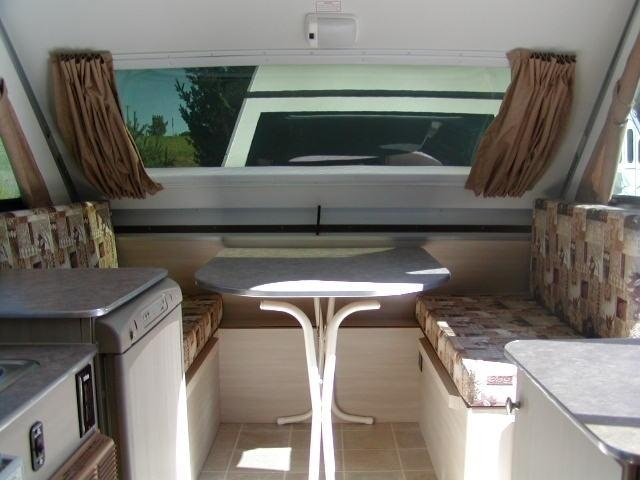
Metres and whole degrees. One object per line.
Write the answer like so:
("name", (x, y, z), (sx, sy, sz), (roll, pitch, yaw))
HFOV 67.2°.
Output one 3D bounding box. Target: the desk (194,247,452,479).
("desk", (0.058, 0.541, 2.897), (1.348, 1.088, 1.240), (0, 4, 3))
